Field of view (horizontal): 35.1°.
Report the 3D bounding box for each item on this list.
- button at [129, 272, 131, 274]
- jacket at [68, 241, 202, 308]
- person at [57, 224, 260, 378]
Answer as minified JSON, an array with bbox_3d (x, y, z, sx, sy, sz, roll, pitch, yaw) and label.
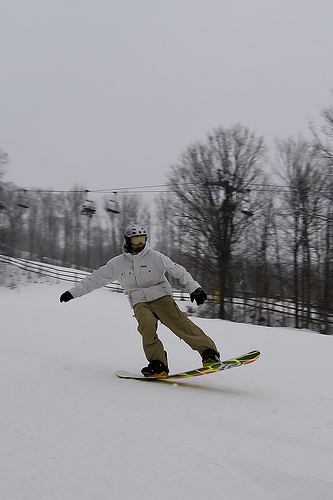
[{"bbox_3d":[-0.383,0.230,5.487,0.017,0.017,0.004,-6,-6,4],"label":"button"},{"bbox_3d":[-0.751,0.563,13.680,2.883,1.343,0.823,-12,-6,7],"label":"jacket"},{"bbox_3d":[-0.145,0.542,5.472,2.260,1.523,0.703,-9,-8,19],"label":"person"}]
